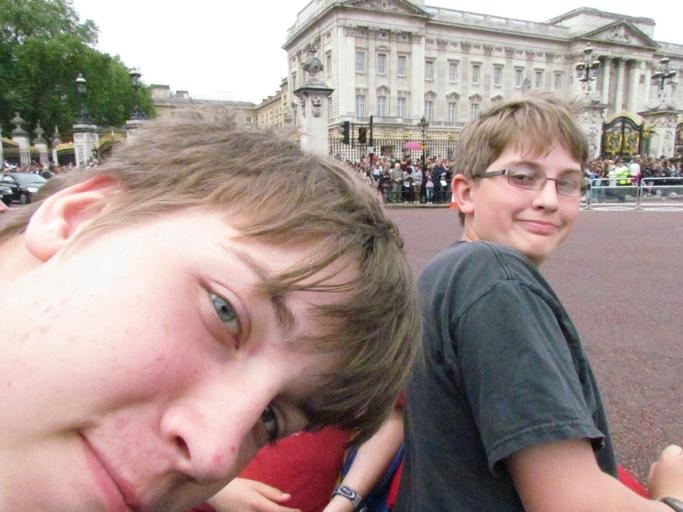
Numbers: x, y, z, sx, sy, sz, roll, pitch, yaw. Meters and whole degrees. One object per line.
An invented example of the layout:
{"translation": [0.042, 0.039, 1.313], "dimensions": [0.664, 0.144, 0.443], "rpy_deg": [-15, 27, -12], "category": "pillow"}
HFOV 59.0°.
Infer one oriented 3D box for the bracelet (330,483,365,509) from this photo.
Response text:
{"translation": [0.024, 0.774, 1.961], "dimensions": [0.062, 0.090, 0.086], "rpy_deg": [-42, 43, -23], "category": "bracelet"}
